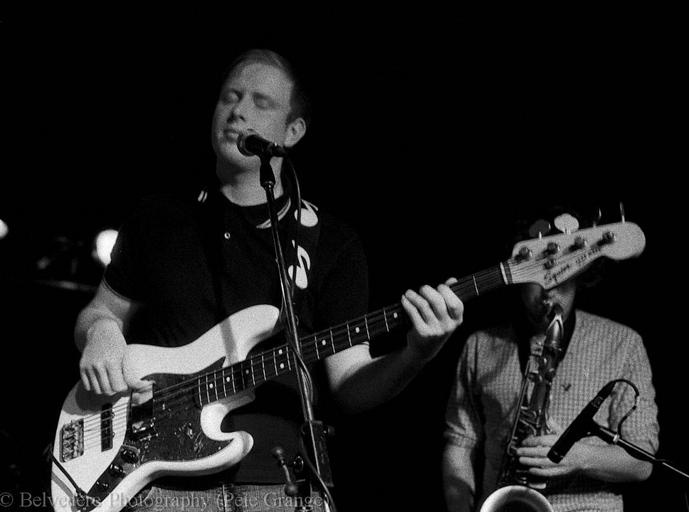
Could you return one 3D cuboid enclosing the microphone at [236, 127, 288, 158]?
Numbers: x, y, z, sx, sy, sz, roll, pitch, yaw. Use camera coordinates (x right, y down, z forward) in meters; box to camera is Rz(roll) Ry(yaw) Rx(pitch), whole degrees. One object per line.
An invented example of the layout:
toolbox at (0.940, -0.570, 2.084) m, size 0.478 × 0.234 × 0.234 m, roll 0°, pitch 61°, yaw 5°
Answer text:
microphone at (-0.328, -0.465, 3.048) m, size 0.093 × 0.098 × 0.270 m, roll 19°, pitch -2°, yaw -34°
